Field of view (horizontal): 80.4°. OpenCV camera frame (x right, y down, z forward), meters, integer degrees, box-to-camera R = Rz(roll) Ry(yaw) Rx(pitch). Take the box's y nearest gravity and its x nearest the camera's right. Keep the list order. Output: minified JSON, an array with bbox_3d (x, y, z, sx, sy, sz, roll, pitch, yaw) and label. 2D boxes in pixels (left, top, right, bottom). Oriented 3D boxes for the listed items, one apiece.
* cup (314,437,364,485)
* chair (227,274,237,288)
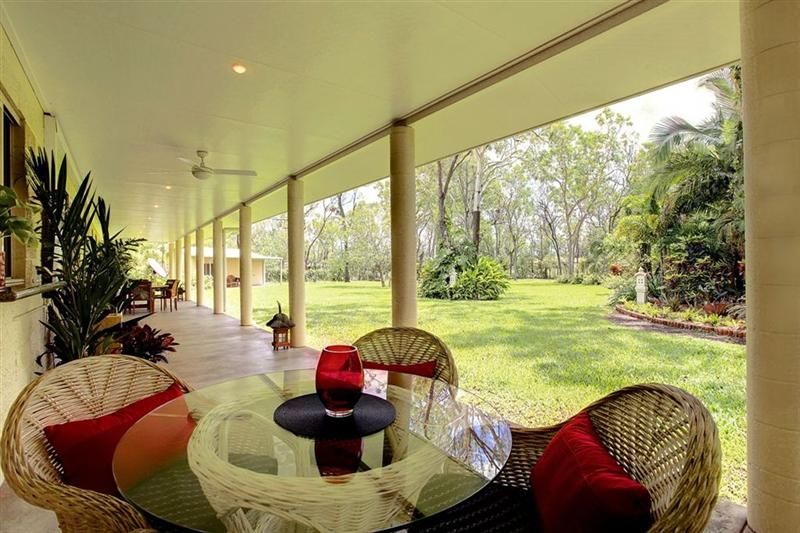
[{"bbox_3d":[-0.285,0.905,2.206,0.210,0.152,0.188,2,0,-10],"label":"cup"},{"bbox_3d":[-8.910,0.771,25.179,0.674,0.638,0.588,-2,1,34],"label":"chair"}]
